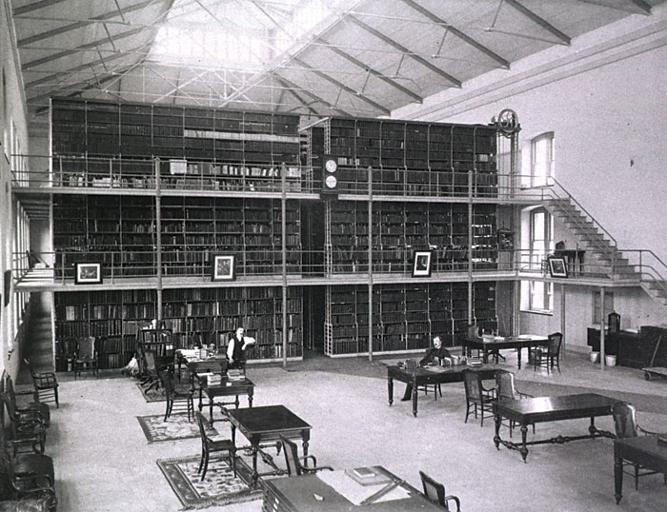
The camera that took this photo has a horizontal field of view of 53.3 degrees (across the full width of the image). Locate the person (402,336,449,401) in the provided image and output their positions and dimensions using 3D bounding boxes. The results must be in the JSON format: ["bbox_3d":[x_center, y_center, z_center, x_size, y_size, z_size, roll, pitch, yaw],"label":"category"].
[{"bbox_3d":[2.190,2.737,16.102,1.068,1.646,1.192,-2,8,-44],"label":"person"}]

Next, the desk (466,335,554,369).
[{"bbox_3d":[5.279,2.708,19.168,1.978,0.812,1.218,-5,5,10],"label":"desk"}]

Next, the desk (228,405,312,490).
[{"bbox_3d":[-1.179,3.417,12.048,1.145,0.841,1.804,0,-4,-26],"label":"desk"}]

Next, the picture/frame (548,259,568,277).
[{"bbox_3d":[7.013,0.373,20.813,0.113,0.493,0.635,-2,-2,-30],"label":"picture/frame"}]

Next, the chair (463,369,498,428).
[{"bbox_3d":[3.247,3.087,14.741,0.728,0.905,1.629,-3,-2,12],"label":"chair"}]

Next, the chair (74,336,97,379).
[{"bbox_3d":[-6.757,2.778,18.234,0.673,1.039,0.750,-2,-1,-1],"label":"chair"}]

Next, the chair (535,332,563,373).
[{"bbox_3d":[6.288,2.809,19.421,0.615,1.102,0.679,0,0,-20],"label":"chair"}]

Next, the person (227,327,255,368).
[{"bbox_3d":[-2.403,2.324,17.134,0.642,0.982,0.499,0,25,-11],"label":"person"}]

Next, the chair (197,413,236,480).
[{"bbox_3d":[-2.125,3.463,12.163,0.730,1.029,0.695,-2,-2,-3],"label":"chair"}]
